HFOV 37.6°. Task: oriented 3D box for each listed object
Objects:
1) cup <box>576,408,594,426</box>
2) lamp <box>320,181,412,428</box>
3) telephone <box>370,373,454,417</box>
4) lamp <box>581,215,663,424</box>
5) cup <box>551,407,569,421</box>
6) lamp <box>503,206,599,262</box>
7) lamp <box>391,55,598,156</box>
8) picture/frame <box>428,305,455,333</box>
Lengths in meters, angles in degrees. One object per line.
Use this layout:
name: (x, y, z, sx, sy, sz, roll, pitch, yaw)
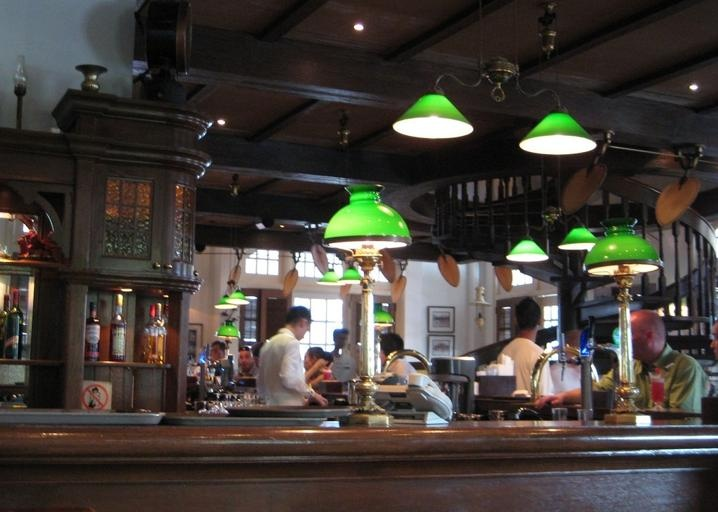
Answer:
cup: (1.234, 0.874, 5.710, 0.082, 0.135, 0.080, 1, 0, 0)
lamp: (0.051, 0.236, 5.545, 0.419, 1.194, 0.651, 2, 9, -19)
telephone: (0.254, 0.747, 5.636, 0.473, 0.154, 0.445, 10, -22, 2)
lamp: (1.467, 0.354, 6.030, 0.436, 1.129, 0.716, 7, 8, 14)
cup: (1.100, 0.873, 5.812, 0.093, 0.062, 0.082, -1, -6, 0)
lamp: (1.736, -0.128, 9.517, 0.808, 0.225, 0.301, -12, -15, 19)
lamp: (0.944, -1.061, 7.076, 1.311, 0.444, 0.442, 7, 0, 2)
picture/frame: (1.738, 1.363, 22.796, 0.660, 0.431, 0.047, 5, -13, -33)
